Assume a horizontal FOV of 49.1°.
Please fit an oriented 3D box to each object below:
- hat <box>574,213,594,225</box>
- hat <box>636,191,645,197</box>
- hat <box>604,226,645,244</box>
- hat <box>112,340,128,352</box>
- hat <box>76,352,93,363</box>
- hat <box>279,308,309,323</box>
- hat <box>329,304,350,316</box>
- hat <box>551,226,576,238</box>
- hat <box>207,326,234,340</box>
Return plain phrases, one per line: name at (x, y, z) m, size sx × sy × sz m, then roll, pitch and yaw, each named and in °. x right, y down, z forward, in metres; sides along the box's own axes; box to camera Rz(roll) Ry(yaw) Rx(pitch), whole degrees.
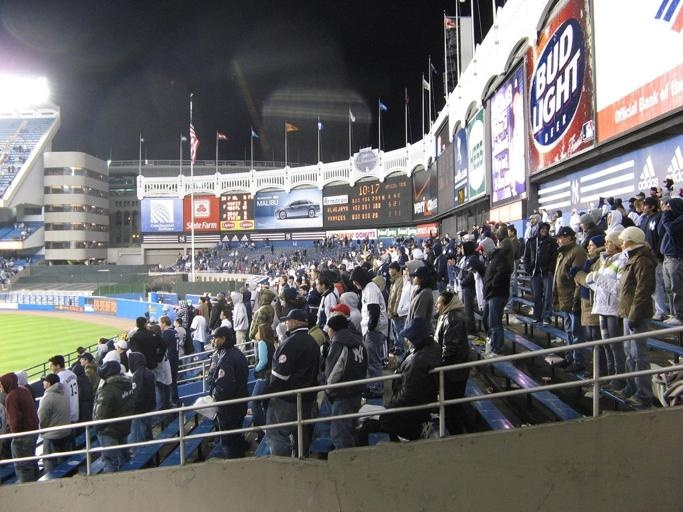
hat at (5.876, -0.907, 18.084) m, size 0.279 × 0.217 × 0.306 m, roll 6°, pitch 20°, yaw 21°
hat at (7.390, -1.535, 18.397) m, size 0.232 × 0.114 × 0.281 m, roll 3°, pitch 7°, yaw 31°
hat at (5.777, -0.431, 15.199) m, size 0.548 × 0.343 × 0.402 m, roll 1°, pitch 2°, yaw 36°
hat at (-5.700, 2.308, 19.188) m, size 0.295 × 0.182 × 0.242 m, roll 25°, pitch 17°, yaw 14°
hat at (-6.539, 2.551, 18.969) m, size 0.326 × 0.192 × 0.241 m, roll 26°, pitch 8°, yaw 15°
hat at (-0.990, 1.239, 15.647) m, size 0.461 × 0.220 × 0.321 m, roll 0°, pitch -5°, yaw 12°
hat at (-0.043, 1.150, 15.997) m, size 0.320 × 0.213 × 0.246 m, roll 2°, pitch -3°, yaw 7°
hat at (5.031, -0.555, 16.730) m, size 0.297 × 0.207 × 0.222 m, roll 10°, pitch 6°, yaw 26°
hat at (-2.622, 1.670, 16.357) m, size 0.395 × 0.262 × 0.317 m, roll 5°, pitch -1°, yaw 3°
